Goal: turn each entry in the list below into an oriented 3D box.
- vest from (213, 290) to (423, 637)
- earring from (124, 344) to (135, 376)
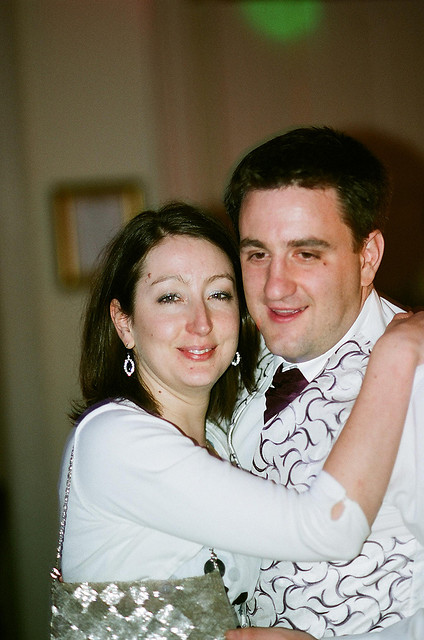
[{"bbox_3d":[0.280,0.379,1.684,0.465,0.877,0.560,1,5,-1],"label":"vest"},{"bbox_3d":[-0.248,0.129,1.786,0.033,0.063,0.018,5,6,38],"label":"earring"}]
